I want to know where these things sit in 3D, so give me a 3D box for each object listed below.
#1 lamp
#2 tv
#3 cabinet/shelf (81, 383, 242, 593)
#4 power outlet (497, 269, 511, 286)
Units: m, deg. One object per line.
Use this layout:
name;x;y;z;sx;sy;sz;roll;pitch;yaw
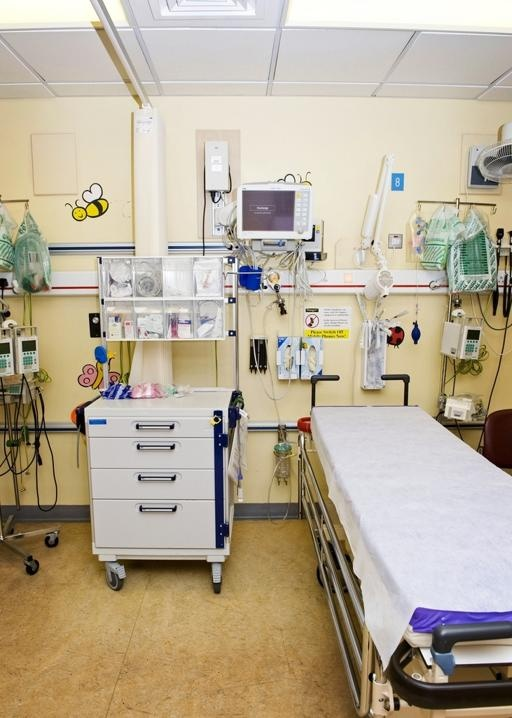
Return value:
lamp;0.647;-0.692;3.028;0.147;0.735;0.256;-1;9;-3
tv;0.102;-0.809;2.896;0.391;0.300;0.251;-1;36;0
cabinet/shelf;-0.414;0.619;2.894;0.765;1.129;0.809;0;0;0
power outlet;1.423;-0.469;3.201;0.051;0.102;0.093;4;-4;-43
